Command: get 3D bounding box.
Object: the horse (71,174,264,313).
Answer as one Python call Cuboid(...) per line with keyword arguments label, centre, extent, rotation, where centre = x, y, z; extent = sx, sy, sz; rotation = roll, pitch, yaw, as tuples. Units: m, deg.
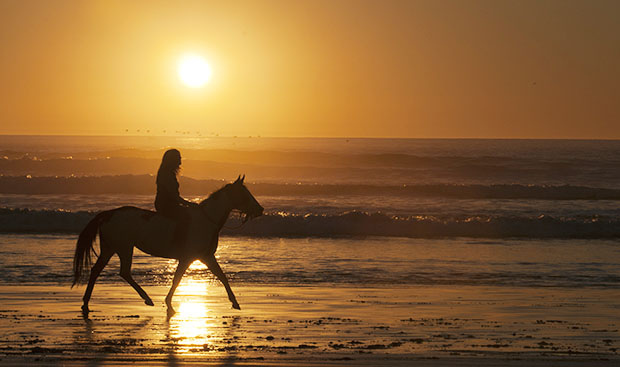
Cuboid(label="horse", centre=(-5.211, 2.063, 39.857), extent=(5.973, 4.426, 1.358), rotation=(1, 12, -6))
